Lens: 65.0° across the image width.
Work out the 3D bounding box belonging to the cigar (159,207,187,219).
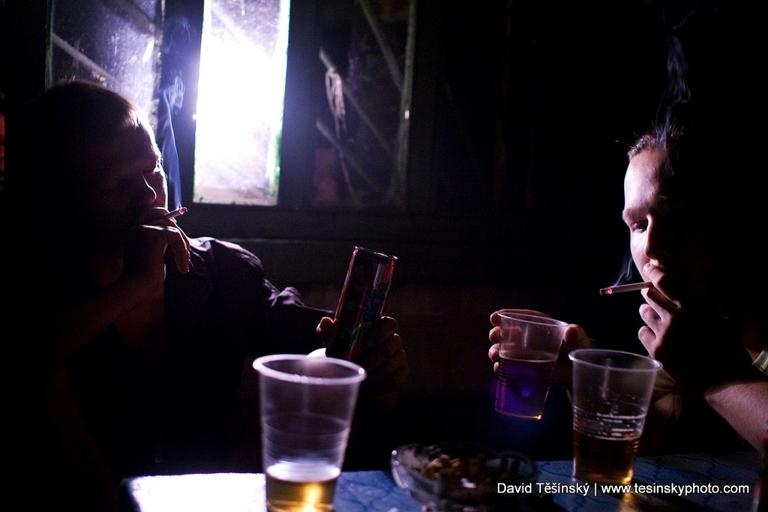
[{"bbox_3d":[-0.836,-0.172,2.369,0.156,0.027,0.028,-1,31,35],"label":"cigar"}]
